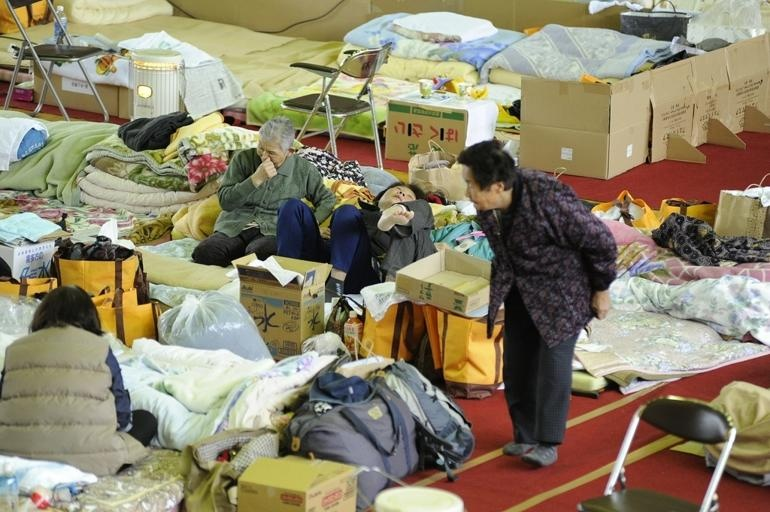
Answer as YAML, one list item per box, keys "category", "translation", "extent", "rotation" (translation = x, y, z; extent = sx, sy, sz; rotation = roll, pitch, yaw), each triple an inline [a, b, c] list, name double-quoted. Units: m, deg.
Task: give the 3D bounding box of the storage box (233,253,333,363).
- category: "storage box"
  translation: [-0.598, 0.295, 3.566]
  extent: [0.509, 0.509, 0.362]
  rotation: [5, 13, 20]

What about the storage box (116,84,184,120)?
- category: "storage box"
  translation: [-2.384, -1.678, 6.410]
  extent: [0.493, 0.508, 0.494]
  rotation: [12, 16, 15]

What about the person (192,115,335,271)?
- category: "person"
  translation: [-0.902, -0.303, 4.373]
  extent: [0.744, 1.260, 0.981]
  rotation: [21, 27, 21]

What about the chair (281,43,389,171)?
- category: "chair"
  translation: [-0.514, -1.459, 6.103]
  extent: [1.036, 1.215, 0.967]
  rotation: [9, 27, 10]

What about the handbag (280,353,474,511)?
- category: "handbag"
  translation: [-0.036, 0.724, 2.701]
  extent: [0.501, 0.363, 0.745]
  rotation: [-18, 19, -36]

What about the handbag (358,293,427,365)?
- category: "handbag"
  translation: [0.054, 0.391, 3.313]
  extent: [0.262, 0.341, 0.186]
  rotation: [19, 43, 1]

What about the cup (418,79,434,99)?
- category: "cup"
  translation: [0.421, -1.729, 6.353]
  extent: [0.183, 0.187, 0.175]
  rotation: [2, 24, -1]

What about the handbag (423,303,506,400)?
- category: "handbag"
  translation: [0.495, 0.472, 3.347]
  extent: [0.487, 0.509, 0.417]
  rotation: [-8, 14, -23]

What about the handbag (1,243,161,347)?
- category: "handbag"
  translation: [-1.677, 0.209, 3.529]
  extent: [0.798, 0.398, 0.494]
  rotation: [-2, 7, -16]

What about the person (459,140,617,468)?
- category: "person"
  translation: [0.648, 0.236, 2.569]
  extent: [0.590, 1.418, 0.367]
  rotation: [1, 8, 19]

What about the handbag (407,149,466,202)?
- category: "handbag"
  translation: [0.312, -0.687, 5.171]
  extent: [0.258, 0.327, 0.352]
  rotation: [9, -9, -3]
